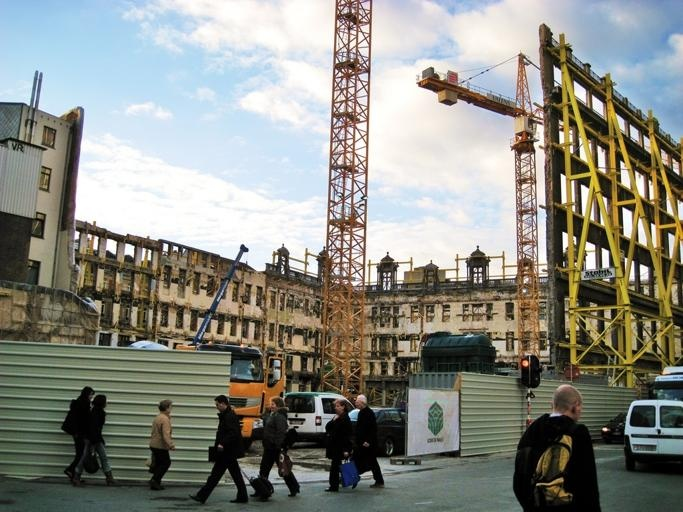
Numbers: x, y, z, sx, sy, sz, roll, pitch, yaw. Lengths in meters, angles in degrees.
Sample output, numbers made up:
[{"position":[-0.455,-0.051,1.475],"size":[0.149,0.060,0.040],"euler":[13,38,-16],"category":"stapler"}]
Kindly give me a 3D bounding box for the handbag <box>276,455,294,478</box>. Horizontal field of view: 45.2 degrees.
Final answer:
[{"position":[-1.497,5.500,21.528],"size":[0.353,0.608,0.402],"euler":[4,-12,-7],"category":"handbag"}]

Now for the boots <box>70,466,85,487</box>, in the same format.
[{"position":[-6.898,5.836,21.671],"size":[0.243,0.475,0.522],"euler":[2,-2,44],"category":"boots"}]

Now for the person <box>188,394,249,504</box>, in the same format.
[{"position":[-2.973,4.821,20.628],"size":[1.327,2.635,0.703],"euler":[4,-12,-9],"category":"person"}]

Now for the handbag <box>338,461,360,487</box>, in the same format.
[{"position":[0.182,5.945,22.400],"size":[0.650,0.616,0.168],"euler":[-3,-11,-39],"category":"handbag"}]

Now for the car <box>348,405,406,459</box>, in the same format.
[{"position":[1.565,7.005,32.690],"size":[1.745,1.495,3.700],"euler":[-2,-4,16],"category":"car"}]

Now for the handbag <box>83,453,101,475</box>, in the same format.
[{"position":[-6.733,5.525,21.950],"size":[0.384,0.528,0.242],"euler":[5,-13,-14],"category":"handbag"}]

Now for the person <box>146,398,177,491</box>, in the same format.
[{"position":[-4.714,4.913,21.371],"size":[0.581,2.286,0.709],"euler":[5,-13,-12],"category":"person"}]

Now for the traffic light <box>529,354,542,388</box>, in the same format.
[{"position":[7.418,4.390,31.305],"size":[0.291,1.167,0.943],"euler":[-2,-13,20],"category":"traffic light"}]

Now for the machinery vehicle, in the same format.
[{"position":[-7.649,4.146,37.492],"size":[9.577,8.352,3.975],"euler":[-3,-15,41],"category":"machinery vehicle"}]

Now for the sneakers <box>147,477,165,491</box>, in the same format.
[{"position":[-4.866,5.969,21.499],"size":[0.186,0.208,0.518],"euler":[5,-3,26],"category":"sneakers"}]

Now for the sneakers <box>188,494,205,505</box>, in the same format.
[{"position":[-3.585,5.958,20.175],"size":[0.542,0.212,0.298],"euler":[-8,-15,40],"category":"sneakers"}]

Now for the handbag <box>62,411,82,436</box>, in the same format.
[{"position":[-7.269,4.479,21.927],"size":[0.620,0.608,0.157],"euler":[-3,-13,23],"category":"handbag"}]

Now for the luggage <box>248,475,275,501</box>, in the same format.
[{"position":[-2.093,5.979,21.223],"size":[0.584,0.585,0.582],"euler":[3,-12,-6],"category":"luggage"}]
